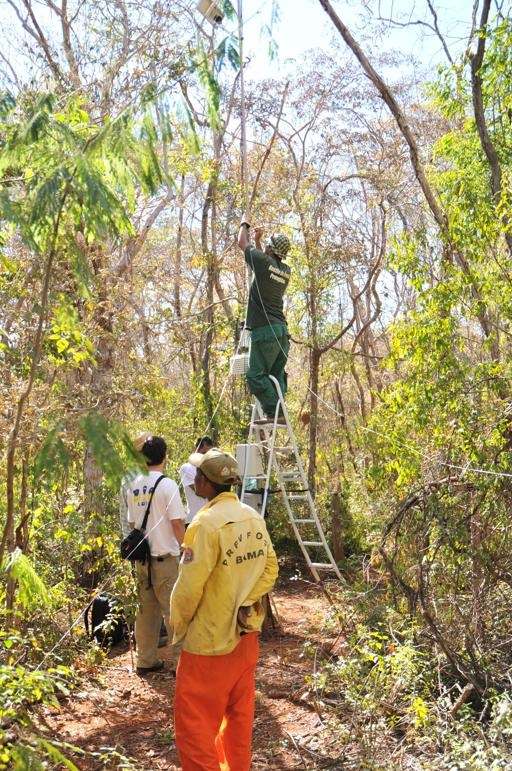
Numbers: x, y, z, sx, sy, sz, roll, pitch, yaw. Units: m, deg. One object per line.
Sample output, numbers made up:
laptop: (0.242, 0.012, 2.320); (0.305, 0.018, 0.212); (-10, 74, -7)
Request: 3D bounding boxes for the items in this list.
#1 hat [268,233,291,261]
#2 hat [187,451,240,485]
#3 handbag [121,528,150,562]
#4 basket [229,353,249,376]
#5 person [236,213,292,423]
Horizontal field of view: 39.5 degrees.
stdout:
hat: (0.194, -1.187, 6.120); (0.160, 0.204, 0.112); (20, -52, -28)
hat: (-0.197, 0.363, 3.240); (0.140, 0.215, 0.121); (-16, -49, -39)
handbag: (-0.796, 1.043, 4.669); (0.218, 0.235, 0.167); (1, -1, 9)
basket: (-0.123, -0.184, 6.455); (0.208, 0.193, 0.207); (-1, 5, -17)
person: (0.122, -0.468, 6.064); (0.534, 1.579, 0.940); (-9, -13, -1)
